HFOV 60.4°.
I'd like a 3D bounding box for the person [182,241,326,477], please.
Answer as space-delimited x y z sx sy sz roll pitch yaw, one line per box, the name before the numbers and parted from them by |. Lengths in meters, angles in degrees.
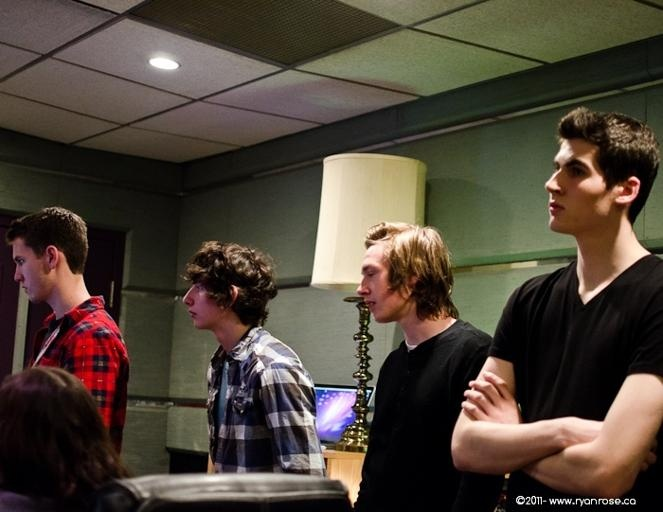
person | -0.267 0.329 2.013 0.330 0.826 0.677 6 -8 -36
